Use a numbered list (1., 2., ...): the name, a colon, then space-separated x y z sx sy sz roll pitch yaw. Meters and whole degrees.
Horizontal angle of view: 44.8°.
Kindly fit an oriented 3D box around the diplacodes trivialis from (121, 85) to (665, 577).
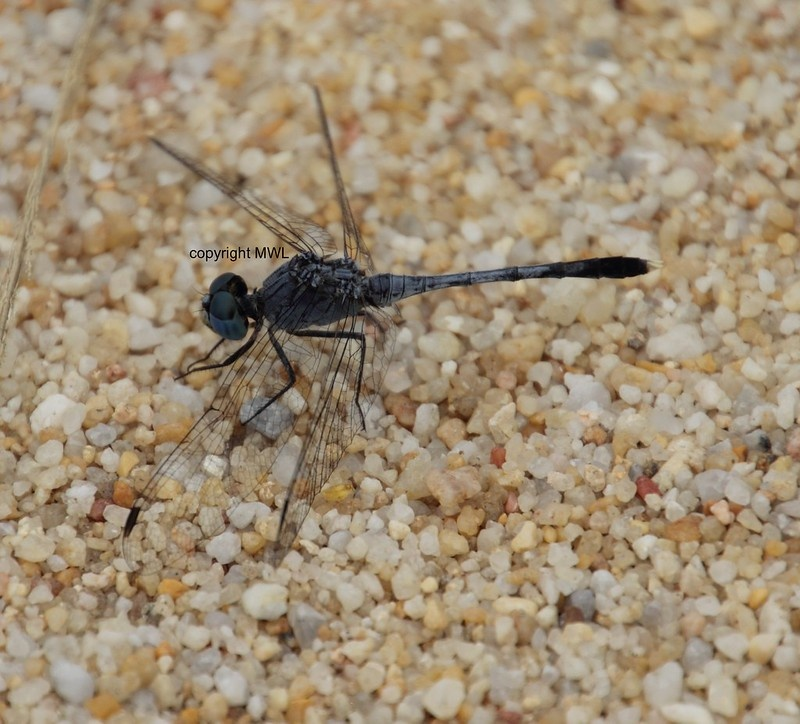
1. diplacodes trivialis: -0.080 -0.039 1.550 0.815 0.656 0.329 -1 -26 -1
